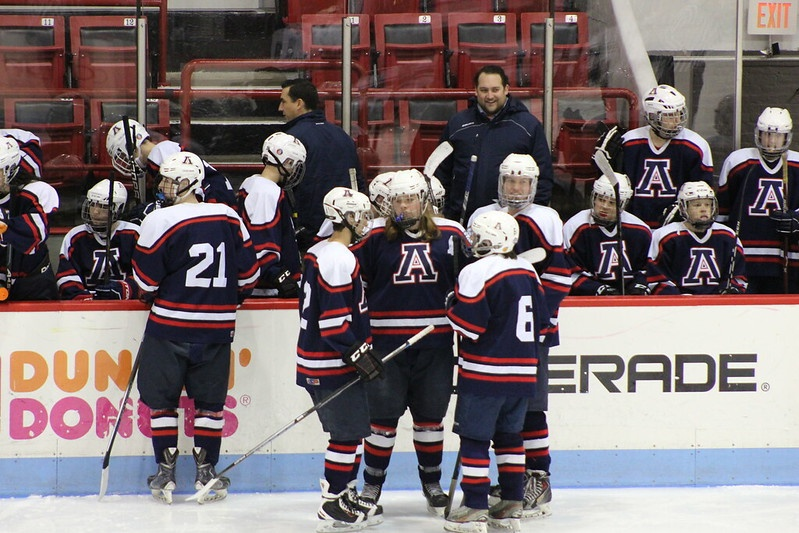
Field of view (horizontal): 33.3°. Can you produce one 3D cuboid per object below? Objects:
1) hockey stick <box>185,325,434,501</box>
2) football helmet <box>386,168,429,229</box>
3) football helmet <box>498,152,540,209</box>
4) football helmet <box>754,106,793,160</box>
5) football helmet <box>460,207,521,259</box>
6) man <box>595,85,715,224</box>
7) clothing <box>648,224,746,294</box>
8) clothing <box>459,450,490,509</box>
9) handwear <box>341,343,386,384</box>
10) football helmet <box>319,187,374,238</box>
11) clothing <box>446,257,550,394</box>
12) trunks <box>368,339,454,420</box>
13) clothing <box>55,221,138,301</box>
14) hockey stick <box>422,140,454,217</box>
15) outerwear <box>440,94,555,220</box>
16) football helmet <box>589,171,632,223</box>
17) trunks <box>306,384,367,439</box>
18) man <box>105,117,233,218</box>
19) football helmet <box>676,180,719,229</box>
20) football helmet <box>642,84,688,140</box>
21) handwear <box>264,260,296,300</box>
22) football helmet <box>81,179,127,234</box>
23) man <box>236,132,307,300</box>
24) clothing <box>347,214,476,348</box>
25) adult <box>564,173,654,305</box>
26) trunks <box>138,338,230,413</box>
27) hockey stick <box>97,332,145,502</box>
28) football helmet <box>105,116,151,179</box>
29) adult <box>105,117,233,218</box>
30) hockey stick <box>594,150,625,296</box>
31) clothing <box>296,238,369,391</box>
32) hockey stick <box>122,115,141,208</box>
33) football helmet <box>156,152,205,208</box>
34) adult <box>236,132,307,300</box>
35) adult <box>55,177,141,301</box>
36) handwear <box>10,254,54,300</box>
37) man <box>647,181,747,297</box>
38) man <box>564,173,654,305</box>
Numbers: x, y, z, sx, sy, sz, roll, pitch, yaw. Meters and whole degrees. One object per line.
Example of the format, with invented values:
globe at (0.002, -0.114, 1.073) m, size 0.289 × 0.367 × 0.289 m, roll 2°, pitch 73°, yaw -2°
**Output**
hockey stick at (-0.580, 0.850, 8.076) m, size 1.904 × 0.146 × 0.105 m, roll -35°, pitch -44°, yaw 26°
football helmet at (0.061, -0.419, 7.856) m, size 0.247 × 0.312 × 0.326 m, roll -4°, pitch 23°, yaw 22°
football helmet at (0.719, -0.548, 8.200) m, size 0.258 × 0.346 × 0.347 m, roll 6°, pitch -7°, yaw -6°
football helmet at (2.573, -0.946, 9.203) m, size 0.248 × 0.330 × 0.341 m, roll 5°, pitch 40°, yaw 19°
football helmet at (0.537, -0.192, 7.802) m, size 0.305 × 0.253 × 0.243 m, roll 9°, pitch 11°, yaw 8°
man at (1.723, -0.494, 9.097) m, size 0.699 × 1.296 × 0.447 m, roll 5°, pitch 4°, yaw 19°
clothing at (1.974, 0.018, 8.838) m, size 0.653 × 0.626 × 0.369 m, roll 1°, pitch 24°, yaw 11°
clothing at (0.444, 1.218, 7.768) m, size 0.167 × 0.345 × 0.141 m, roll 0°, pitch -5°, yaw 9°
handwear at (-0.207, 0.547, 7.682) m, size 0.210 × 0.213 × 0.089 m, roll -42°, pitch 2°, yaw -24°
football helmet at (-0.319, -0.331, 7.868) m, size 0.295 × 0.291 × 0.235 m, roll 7°, pitch 15°, yaw -8°
clothing at (0.551, 0.325, 7.728) m, size 0.741 × 0.945 × 0.545 m, roll -1°, pitch 7°, yaw -16°
trunks at (0.034, 0.645, 8.043) m, size 0.594 × 0.570 × 0.330 m, roll 2°, pitch -6°, yaw -17°
clothing at (-1.899, -0.036, 8.758) m, size 0.400 × 0.569 × 0.191 m, roll -7°, pitch -28°, yaw -18°
hockey stick at (0.223, -0.579, 8.568) m, size 0.307 × 0.349 × 0.320 m, roll 11°, pitch -6°, yaw 1°
outerwear at (0.624, -0.682, 8.598) m, size 0.714 × 0.728 × 0.391 m, roll 10°, pitch 15°, yaw 19°
football helmet at (1.388, -0.461, 8.808) m, size 0.260 × 0.351 × 0.353 m, roll 13°, pitch 13°, yaw 12°
trunks at (-0.359, 0.831, 7.827) m, size 0.206 × 0.356 × 0.351 m, roll -16°, pitch 13°, yaw -42°
man at (-1.451, -0.681, 8.487) m, size 0.864 × 0.310 × 0.513 m, roll 20°, pitch 35°, yaw -26°
football helmet at (1.939, -0.420, 8.747) m, size 0.229 × 0.279 × 0.288 m, roll -1°, pitch 1°, yaw -2°
football helmet at (1.787, -1.044, 9.011) m, size 0.291 × 0.363 × 0.185 m, roll 1°, pitch 5°, yaw 10°
handwear at (-0.739, 0.082, 8.374) m, size 0.150 × 0.078 × 0.214 m, roll 37°, pitch -15°, yaw 34°
football helmet at (-1.917, -0.407, 8.720) m, size 0.248 × 0.323 × 0.342 m, roll 12°, pitch 17°, yaw 23°
man at (-0.797, -0.287, 8.443) m, size 0.368 × 1.097 × 0.538 m, roll -20°, pitch 44°, yaw -27°
clothing at (0.065, 0.082, 7.838) m, size 0.774 × 0.639 × 0.245 m, roll 0°, pitch 2°, yaw -4°
adult at (1.367, -0.192, 8.757) m, size 0.619 × 0.875 × 0.588 m, roll 2°, pitch 6°, yaw 12°
trunks at (-1.332, 0.604, 8.236) m, size 0.610 × 0.566 × 0.342 m, roll 3°, pitch 4°, yaw -18°
hockey stick at (-1.738, 0.915, 8.271) m, size 0.084 × 1.050 × 0.148 m, roll 22°, pitch -15°, yaw -28°
football helmet at (-1.742, -0.747, 8.507) m, size 0.337 × 0.363 × 0.283 m, roll 8°, pitch -28°, yaw -28°
adult at (-1.614, -0.671, 8.658) m, size 0.836 × 0.324 × 0.361 m, roll 11°, pitch -1°, yaw -34°
hockey stick at (1.395, -0.291, 8.661) m, size 0.293 × 0.928 × 0.179 m, roll -4°, pitch 6°, yaw -42°
clothing at (-0.377, 0.290, 7.736) m, size 0.472 × 0.856 × 0.719 m, roll -4°, pitch 13°, yaw -19°
hockey stick at (-1.686, -0.697, 8.442) m, size 0.062 × 0.475 × 0.024 m, roll -27°, pitch -30°, yaw 30°
football helmet at (-1.353, -0.563, 8.205) m, size 0.319 × 0.317 × 0.257 m, roll -1°, pitch 16°, yaw -20°
adult at (-0.797, -0.287, 8.443) m, size 0.368 × 1.097 × 0.538 m, roll -20°, pitch 44°, yaw -27°
adult at (-1.938, -0.127, 8.689) m, size 0.558 × 0.812 × 0.534 m, roll 5°, pitch 9°, yaw 25°
handwear at (-2.357, 0.063, 8.513) m, size 0.215 × 0.276 × 0.160 m, roll -20°, pitch 15°, yaw -35°
man at (1.973, -0.127, 8.795) m, size 0.629 × 0.849 × 0.556 m, roll 0°, pitch 2°, yaw 8°
man at (1.348, -0.206, 9.005) m, size 0.772 × 1.096 × 0.728 m, roll -1°, pitch 11°, yaw 1°
